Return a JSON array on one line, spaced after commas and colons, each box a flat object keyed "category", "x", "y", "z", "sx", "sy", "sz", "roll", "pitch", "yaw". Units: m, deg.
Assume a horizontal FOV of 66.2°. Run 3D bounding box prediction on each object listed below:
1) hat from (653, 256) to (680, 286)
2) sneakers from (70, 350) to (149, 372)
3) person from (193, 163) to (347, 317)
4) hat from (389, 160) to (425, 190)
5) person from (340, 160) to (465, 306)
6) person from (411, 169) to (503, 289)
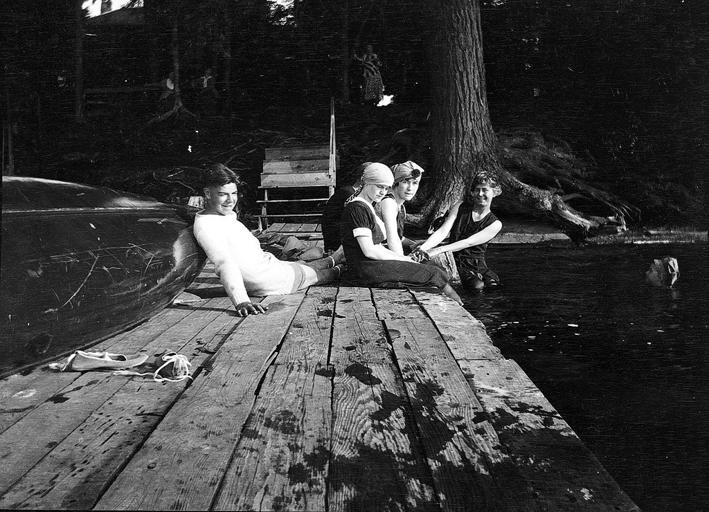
[{"category": "hat", "x": 2.753, "y": 0.120, "z": 4.793, "sx": 0.220, "sy": 0.284, "sz": 0.185, "roll": 0, "pitch": 14, "yaw": 19}, {"category": "sneakers", "x": -1.049, "y": 0.443, "z": 2.315, "sx": 0.286, "sy": 0.060, "sz": 0.112, "roll": 0, "pitch": -1, "yaw": -12}, {"category": "person", "x": -0.617, "y": -0.147, "z": 3.605, "sx": 0.614, "sy": 0.928, "sz": 1.151, "roll": -2, "pitch": 12, "yaw": 11}, {"category": "hat", "x": 0.426, "y": -0.647, "z": 4.228, "sx": 0.251, "sy": 0.140, "sz": 0.205, "roll": -7, "pitch": 11, "yaw": -28}, {"category": "person", "x": 0.272, "y": -0.227, "z": 3.995, "sx": 0.818, "sy": 0.908, "sz": 0.433, "roll": -1, "pitch": 14, "yaw": 15}, {"category": "person", "x": 0.918, "y": -0.255, "z": 5.031, "sx": 1.007, "sy": 0.971, "sz": 0.790, "roll": 8, "pitch": 23, "yaw": 10}]
